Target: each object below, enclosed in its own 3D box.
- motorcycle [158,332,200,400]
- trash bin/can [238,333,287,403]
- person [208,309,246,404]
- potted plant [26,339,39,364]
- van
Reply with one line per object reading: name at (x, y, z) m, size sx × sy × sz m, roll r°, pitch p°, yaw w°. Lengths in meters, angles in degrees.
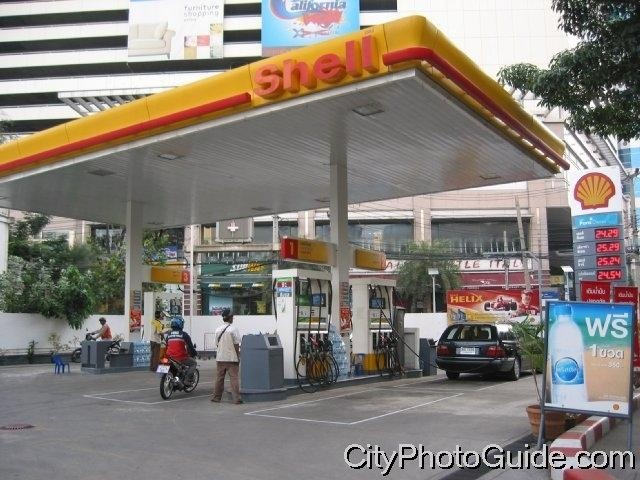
motorcycle at (-3.202, 2.813, 14.655) m, size 0.690 × 1.271 × 1.752 m, roll 3°, pitch -2°, yaw 7°
trash bin/can at (-1.248, 2.763, 14.195) m, size 1.230 × 1.465 × 1.232 m, roll 4°, pitch -9°, yaw -32°
person at (-1.993, 2.463, 13.878) m, size 0.648 × 1.984 × 1.253 m, roll 1°, pitch -7°, yaw -9°
potted plant at (-11.170, 4.301, 25.083) m, size 0.297 × 0.897 × 0.627 m, roll 3°, pitch -8°, yaw -23°
van at (4.171, 2.886, 17.187) m, size 1.412 × 1.135 × 3.231 m, roll -5°, pitch -7°, yaw 35°
